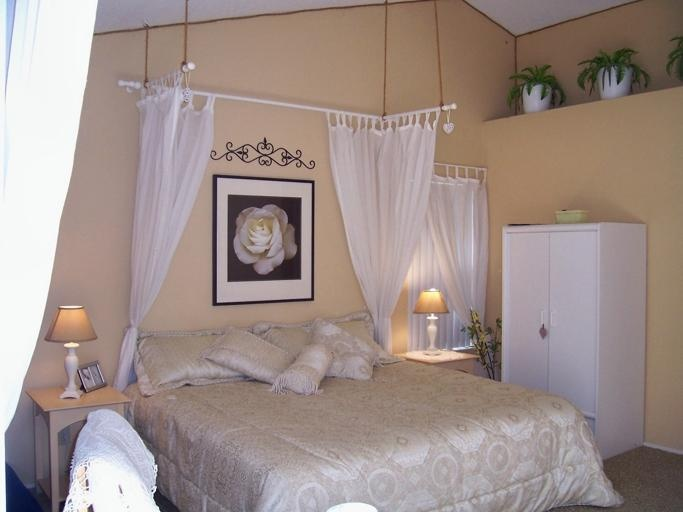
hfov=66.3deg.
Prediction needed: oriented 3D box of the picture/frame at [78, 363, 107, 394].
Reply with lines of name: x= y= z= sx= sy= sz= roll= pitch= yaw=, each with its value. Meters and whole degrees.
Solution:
picture/frame: x=-1.805 y=0.891 z=3.787 sx=0.064 sy=0.178 sz=0.175 roll=-12 pitch=-5 yaw=23

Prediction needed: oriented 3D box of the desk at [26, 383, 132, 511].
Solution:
desk: x=-1.844 y=1.307 z=3.687 sx=0.513 sy=0.751 sz=0.753 roll=-6 pitch=10 yaw=-40

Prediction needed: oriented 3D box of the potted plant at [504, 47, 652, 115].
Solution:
potted plant: x=2.468 y=-1.826 z=5.497 sx=1.377 sy=0.614 sz=0.654 roll=8 pitch=11 yaw=42

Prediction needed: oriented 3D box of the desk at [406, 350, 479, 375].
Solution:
desk: x=1.042 y=1.017 z=5.171 sx=0.410 sy=0.284 sz=0.408 roll=1 pitch=0 yaw=-43

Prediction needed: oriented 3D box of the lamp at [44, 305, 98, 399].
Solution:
lamp: x=-1.874 y=0.671 z=3.641 sx=0.292 sy=0.615 sz=0.316 roll=-1 pitch=-2 yaw=14
